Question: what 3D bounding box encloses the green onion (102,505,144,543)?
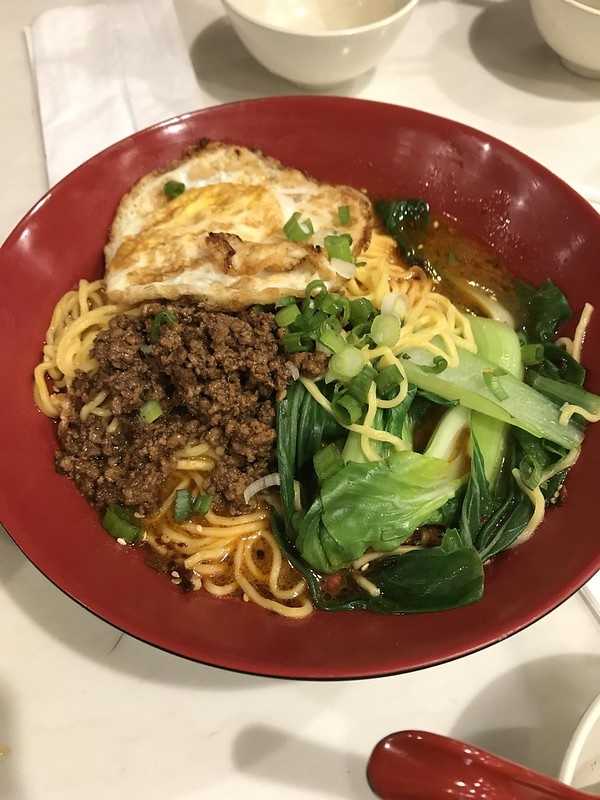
[{"bbox_3d":[-0.559,0.407,2.422,0.134,0.136,0.049,44,104,22],"label":"green onion"}]
